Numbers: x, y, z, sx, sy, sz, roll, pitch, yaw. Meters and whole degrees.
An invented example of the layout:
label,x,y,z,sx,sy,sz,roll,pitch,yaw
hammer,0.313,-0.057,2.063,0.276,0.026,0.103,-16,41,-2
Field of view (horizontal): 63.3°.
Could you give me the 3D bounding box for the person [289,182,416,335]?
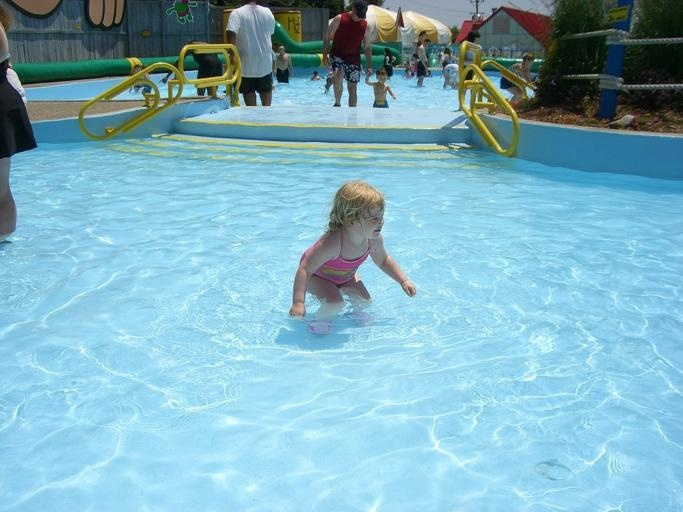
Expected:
label,x,y,z,sx,sy,sz,roll,pitch,yaw
person,0.022,-0.013,3.184,0.782,0.821,0.309,-6,25,-23
